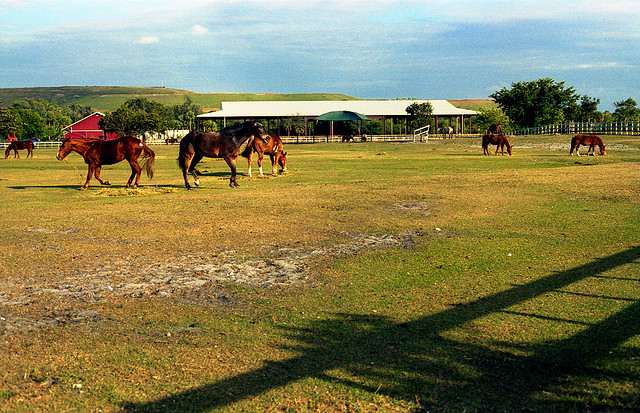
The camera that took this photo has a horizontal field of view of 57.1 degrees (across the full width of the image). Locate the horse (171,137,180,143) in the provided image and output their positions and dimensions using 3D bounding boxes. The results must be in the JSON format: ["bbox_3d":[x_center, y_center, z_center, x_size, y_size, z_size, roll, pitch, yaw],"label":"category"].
[{"bbox_3d":[-23.937,-11.085,96.576,1.734,0.663,2.230,1,4,-3],"label":"horse"}]

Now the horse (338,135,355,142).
[{"bbox_3d":[3.458,-9.077,76.972,2.414,0.505,1.212,6,-31,-22],"label":"horse"}]

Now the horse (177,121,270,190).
[{"bbox_3d":[-3.789,-1.987,22.793,3.883,2.450,0.975,-1,-1,15],"label":"horse"}]

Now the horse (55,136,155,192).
[{"bbox_3d":[-7.924,-1.621,21.878,3.647,1.830,0.860,0,-2,4],"label":"horse"}]

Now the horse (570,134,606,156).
[{"bbox_3d":[18.189,-4.203,39.851,2.023,1.351,4.235,1,8,25],"label":"horse"}]

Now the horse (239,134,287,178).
[{"bbox_3d":[-2.436,-2.414,26.644,0.862,2.142,3.568,4,4,32],"label":"horse"}]
